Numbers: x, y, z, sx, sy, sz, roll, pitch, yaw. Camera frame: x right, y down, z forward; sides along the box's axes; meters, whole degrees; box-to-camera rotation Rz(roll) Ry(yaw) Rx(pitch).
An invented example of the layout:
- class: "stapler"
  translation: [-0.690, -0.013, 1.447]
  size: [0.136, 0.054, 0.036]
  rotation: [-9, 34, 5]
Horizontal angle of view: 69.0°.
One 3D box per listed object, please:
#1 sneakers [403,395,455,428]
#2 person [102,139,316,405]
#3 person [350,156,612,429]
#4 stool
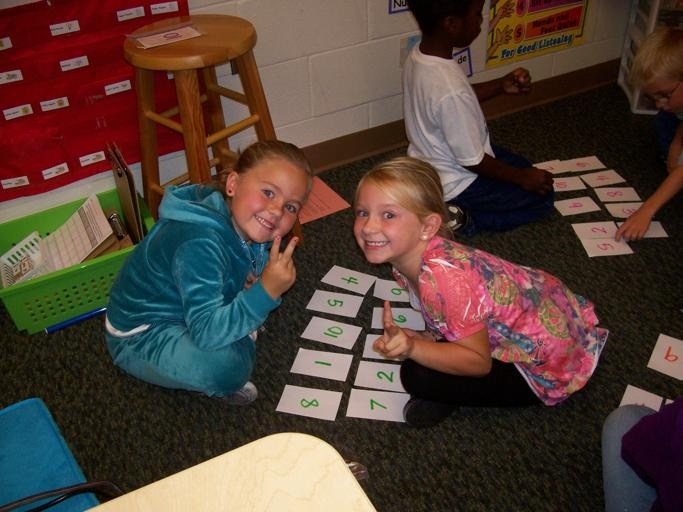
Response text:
- class: "sneakers"
  translation: [0.276, 0.489, 1.588]
  size: [0.156, 0.088, 0.050]
  rotation: [-5, 23, -4]
- class: "person"
  translation: [-0.456, 0.027, 1.687]
  size: [0.594, 0.833, 0.663]
  rotation: [5, 15, -7]
- class: "person"
  translation: [0.398, 0.053, 1.827]
  size: [0.881, 0.964, 0.627]
  rotation: [-18, 13, 5]
- class: "stool"
  translation: [-0.562, -0.483, 2.086]
  size: [0.553, 0.849, 0.533]
  rotation: [19, 42, 23]
